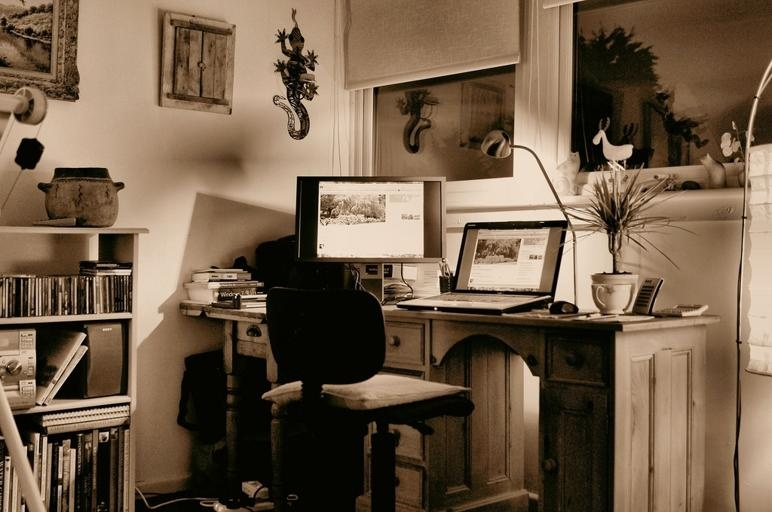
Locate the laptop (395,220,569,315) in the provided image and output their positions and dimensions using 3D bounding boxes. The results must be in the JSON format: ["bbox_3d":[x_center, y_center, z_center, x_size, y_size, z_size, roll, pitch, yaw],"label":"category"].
[{"bbox_3d":[0.558,0.038,3.281,0.596,0.353,0.533,-1,-2,42],"label":"laptop"}]

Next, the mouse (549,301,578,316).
[{"bbox_3d":[0.779,0.222,2.922,0.088,0.039,0.062,-6,5,-23],"label":"mouse"}]

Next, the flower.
[{"bbox_3d":[1.121,-0.202,3.248,0.554,0.464,0.533,-2,7,-18],"label":"flower"}]

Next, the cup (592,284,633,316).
[{"bbox_3d":[0.986,0.194,2.932,0.148,0.096,0.126,0,-1,-20],"label":"cup"}]

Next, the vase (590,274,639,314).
[{"bbox_3d":[0.991,0.174,2.940,0.166,0.142,0.190,5,-9,-25],"label":"vase"}]

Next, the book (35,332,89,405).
[{"bbox_3d":[-1.575,0.528,3.247,0.217,0.331,0.227,0,2,-27],"label":"book"}]

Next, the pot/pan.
[{"bbox_3d":[-1.473,-0.283,3.233,0.373,0.256,0.295,1,-5,-23],"label":"pot/pan"}]

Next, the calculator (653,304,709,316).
[{"bbox_3d":[1.258,0.237,2.870,0.235,0.044,0.081,0,2,-13],"label":"calculator"}]
